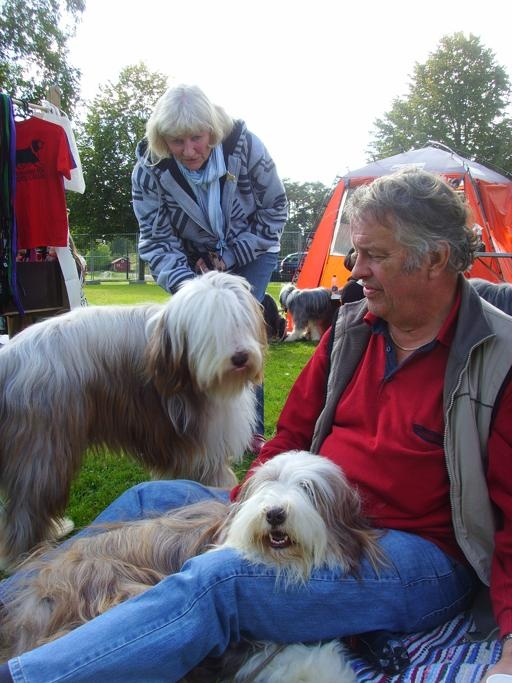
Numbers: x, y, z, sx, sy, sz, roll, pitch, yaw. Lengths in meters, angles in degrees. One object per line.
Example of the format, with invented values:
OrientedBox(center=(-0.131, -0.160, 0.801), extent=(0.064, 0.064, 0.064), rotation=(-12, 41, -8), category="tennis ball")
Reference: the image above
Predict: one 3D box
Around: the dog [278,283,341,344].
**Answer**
OrientedBox(center=(0.990, -0.490, 9.391), extent=(1.361, 0.965, 0.512), rotation=(3, 1, 34), category="dog")
